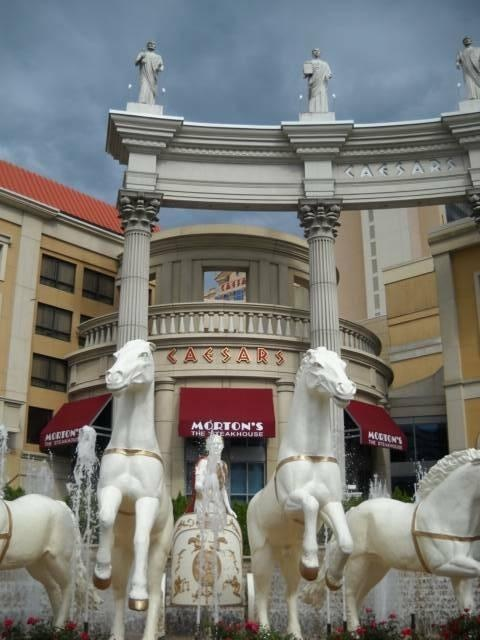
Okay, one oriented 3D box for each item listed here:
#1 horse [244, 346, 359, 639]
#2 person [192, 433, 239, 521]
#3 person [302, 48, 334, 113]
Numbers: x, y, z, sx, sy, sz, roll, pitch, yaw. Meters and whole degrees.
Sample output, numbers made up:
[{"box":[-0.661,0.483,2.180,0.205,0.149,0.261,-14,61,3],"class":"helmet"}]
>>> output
[{"box":[0.628,1.857,5.640,0.865,2.943,2.037,2,-15,-5],"class":"horse"},{"box":[-0.381,2.303,8.150,0.616,1.220,1.133,2,-16,-5],"class":"person"},{"box":[2.578,-8.229,18.766,0.872,2.451,0.658,4,-15,-9],"class":"person"}]
